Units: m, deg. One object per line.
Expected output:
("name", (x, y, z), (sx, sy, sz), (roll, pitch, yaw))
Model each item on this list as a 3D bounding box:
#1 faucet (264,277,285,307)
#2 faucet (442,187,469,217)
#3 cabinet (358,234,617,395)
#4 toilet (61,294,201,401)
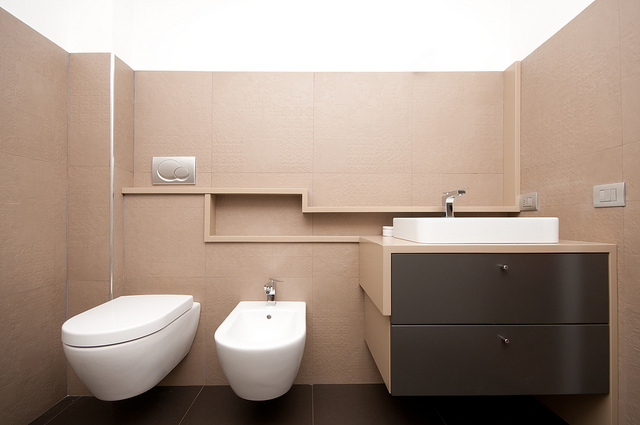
("faucet", (-0.312, 0.534, 2.906), (0.119, 0.172, 0.135), (0, 2, -2))
("faucet", (0.838, -0.053, 2.737), (0.060, 0.171, 0.230), (-4, 1, -9))
("cabinet", (1.011, 0.592, 2.737), (0.994, 0.614, 0.985), (0, -7, -1))
("toilet", (-1.192, 0.834, 2.757), (0.643, 0.447, 0.828), (-2, 5, 7))
